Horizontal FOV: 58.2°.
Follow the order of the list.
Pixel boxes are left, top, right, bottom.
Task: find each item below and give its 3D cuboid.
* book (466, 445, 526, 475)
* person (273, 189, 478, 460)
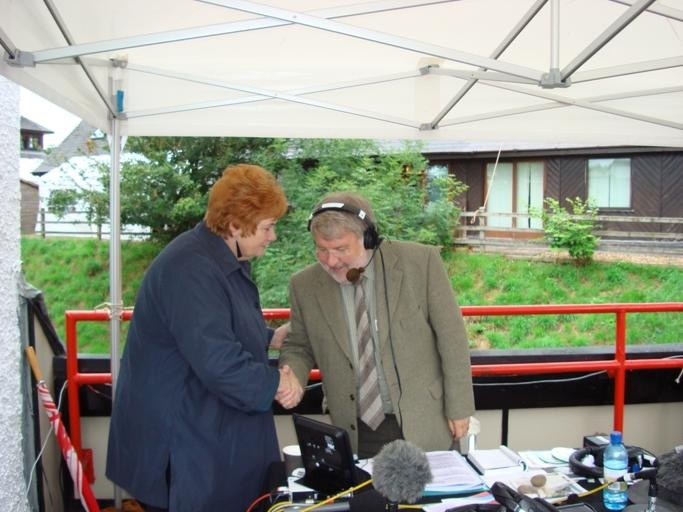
[{"bbox_3d":[0.755,1.018,3.062,0.135,0.044,0.130,-2,4,-17],"label":"book"},{"bbox_3d":[0.208,0.461,3.585,0.710,1.721,0.806,0,0,-3],"label":"person"}]
